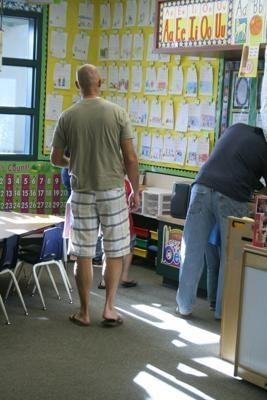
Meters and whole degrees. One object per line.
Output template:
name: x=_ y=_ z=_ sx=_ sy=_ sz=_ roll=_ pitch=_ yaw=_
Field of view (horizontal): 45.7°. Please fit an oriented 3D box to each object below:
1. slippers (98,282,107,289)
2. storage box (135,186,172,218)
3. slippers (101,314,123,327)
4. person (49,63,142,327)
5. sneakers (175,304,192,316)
slippers: x=-0.340 y=0.929 z=3.456 sx=0.084 sy=0.070 sz=0.177 roll=2 pitch=-5 yaw=6
storage box: x=0.296 y=0.037 z=4.303 sx=0.291 sy=0.411 sz=0.530 roll=2 pitch=4 yaw=-21
slippers: x=-0.171 y=0.909 z=2.412 sx=0.059 sy=0.083 sz=0.177 roll=1 pitch=-1 yaw=24
person: x=-0.278 y=-0.030 z=2.342 sx=0.673 sy=1.943 sz=0.419 roll=4 pitch=-5 yaw=-18
sneakers: x=0.430 y=0.959 z=2.769 sx=0.052 sy=0.071 sz=0.148 roll=0 pitch=-2 yaw=-29
